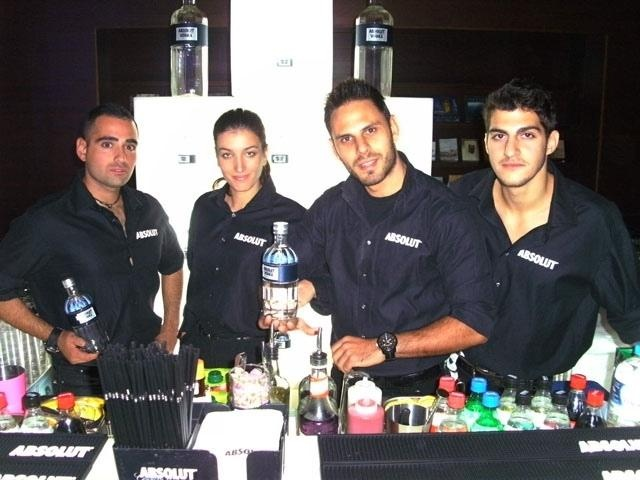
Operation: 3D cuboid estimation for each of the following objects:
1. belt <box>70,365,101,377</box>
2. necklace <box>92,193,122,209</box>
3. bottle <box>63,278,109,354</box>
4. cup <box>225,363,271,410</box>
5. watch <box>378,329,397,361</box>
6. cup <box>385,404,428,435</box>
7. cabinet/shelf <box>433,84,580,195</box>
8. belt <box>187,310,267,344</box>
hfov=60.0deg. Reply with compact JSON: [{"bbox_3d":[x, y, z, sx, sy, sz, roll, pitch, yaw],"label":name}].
[{"bbox_3d":[-1.096,0.614,2.604,0.108,0.069,0.040,-2,8,-5],"label":"belt"},{"bbox_3d":[-1.056,-0.188,2.788,0.011,0.067,0.076,-19,-28,39],"label":"necklace"},{"bbox_3d":[-0.894,0.294,2.121,0.139,0.317,0.105,-6,9,-25],"label":"bottle"},{"bbox_3d":[-0.230,0.492,1.870,0.132,0.112,0.129,0,-3,0],"label":"cup"},{"bbox_3d":[0.259,0.406,2.139,0.074,0.098,0.109,-5,11,-1],"label":"watch"},{"bbox_3d":[0.298,0.626,1.955,0.113,0.082,0.095,2,-9,12],"label":"cup"},{"bbox_3d":[0.811,-0.471,2.575,0.386,0.486,0.423,-11,-5,12],"label":"cabinet/shelf"},{"bbox_3d":[-0.531,0.481,2.915,0.290,0.104,0.217,2,-3,-9],"label":"belt"}]
